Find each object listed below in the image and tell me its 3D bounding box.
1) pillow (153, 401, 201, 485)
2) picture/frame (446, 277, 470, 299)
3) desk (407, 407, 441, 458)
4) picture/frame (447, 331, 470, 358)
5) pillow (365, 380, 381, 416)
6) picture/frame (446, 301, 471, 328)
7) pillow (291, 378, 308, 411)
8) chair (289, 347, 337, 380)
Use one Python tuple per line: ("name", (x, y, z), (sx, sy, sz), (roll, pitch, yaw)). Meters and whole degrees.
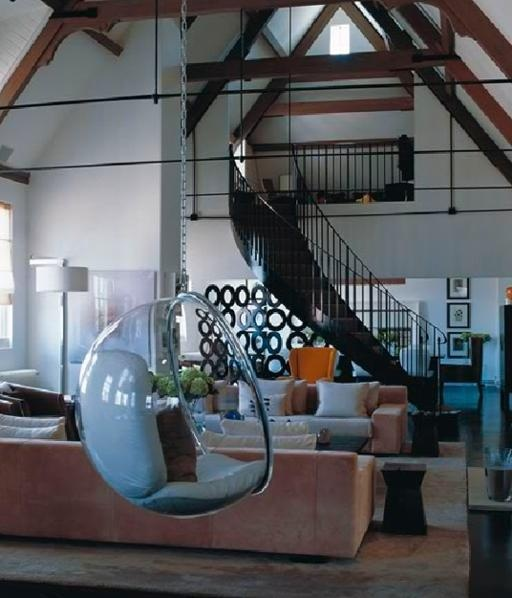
("pillow", (-0.253, 0.454, 2.214), (0.072, 0.227, 0.219), (-8, 36, 3))
("picture/frame", (4.126, -0.232, 14.292), (0.394, 0.410, 0.033), (1, 0, 7))
("desk", (1.620, 1.287, 6.804), (0.342, 0.503, 0.349), (-1, -7, 7))
("picture/frame", (4.134, 0.923, 14.301), (0.512, 0.686, 0.065), (1, -1, 23))
("pillow", (1.179, 1.002, 7.113), (0.098, 0.243, 0.289), (4, 18, 8))
("picture/frame", (4.199, 0.307, 14.514), (0.525, 0.611, 0.047), (1, -1, 9))
("pillow", (0.446, 1.007, 7.404), (0.179, 0.330, 0.342), (-4, 0, 6))
("chair", (0.728, 0.842, 9.097), (0.449, 0.490, 0.557), (0, 1, 19))
